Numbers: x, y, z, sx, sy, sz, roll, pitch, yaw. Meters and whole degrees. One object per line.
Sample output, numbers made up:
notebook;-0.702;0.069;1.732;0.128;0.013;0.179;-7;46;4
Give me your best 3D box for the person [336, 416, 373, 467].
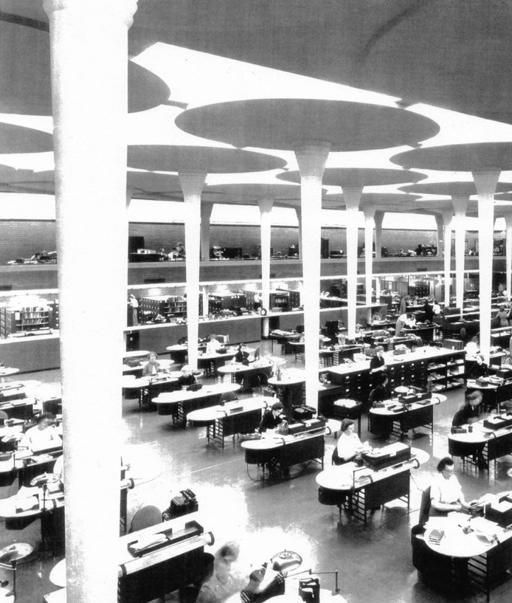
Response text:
person;1.633;2.467;10.565;0.481;0.982;0.484;-1;5;35
